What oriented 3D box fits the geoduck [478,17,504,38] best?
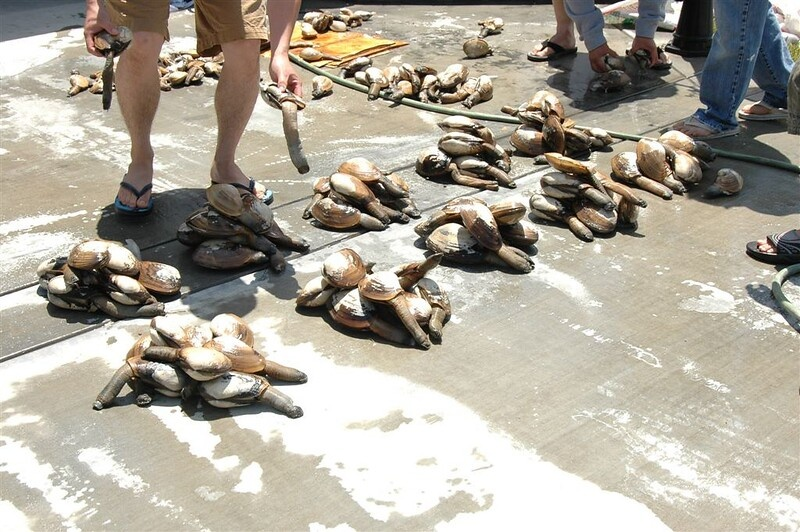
[{"bbox_3d":[0.889,-2.392,6.454,0.167,0.157,0.464,22,34,26],"label":"geoduck"}]

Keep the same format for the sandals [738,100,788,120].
[{"bbox_3d":[2.694,-1.174,4.842,0.388,0.095,0.171,3,18,8],"label":"sandals"}]

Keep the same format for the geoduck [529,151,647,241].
[{"bbox_3d":[0.951,-0.352,3.634,0.635,0.262,0.509,26,48,38],"label":"geoduck"}]

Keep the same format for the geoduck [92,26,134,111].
[{"bbox_3d":[-1.465,-1.012,3.341,0.199,0.446,0.326,-10,36,-20],"label":"geoduck"}]

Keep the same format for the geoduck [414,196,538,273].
[{"bbox_3d":[0.393,-0.161,3.303,0.611,0.208,0.347,4,41,11],"label":"geoduck"}]

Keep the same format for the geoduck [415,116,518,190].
[{"bbox_3d":[0.391,-0.652,4.067,0.665,0.262,0.410,23,65,13],"label":"geoduck"}]

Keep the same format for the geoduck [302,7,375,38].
[{"bbox_3d":[-0.669,-2.484,6.544,0.714,0.157,0.410,-20,37,-35],"label":"geoduck"}]

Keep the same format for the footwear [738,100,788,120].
[{"bbox_3d":[2.691,-1.171,4.839,0.388,0.095,0.171,3,18,8],"label":"footwear"}]

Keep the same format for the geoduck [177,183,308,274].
[{"bbox_3d":[-0.834,-0.169,3.278,0.601,0.227,0.482,25,33,19],"label":"geoduck"}]

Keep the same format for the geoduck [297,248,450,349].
[{"bbox_3d":[-0.132,0.146,2.961,0.647,0.203,0.468,9,23,19],"label":"geoduck"}]

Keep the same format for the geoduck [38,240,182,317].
[{"bbox_3d":[-1.388,0.111,3.055,0.562,0.203,0.393,13,42,2],"label":"geoduck"}]

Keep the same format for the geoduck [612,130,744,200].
[{"bbox_3d":[1.653,-0.607,3.960,0.486,0.229,0.651,-33,45,-30],"label":"geoduck"}]

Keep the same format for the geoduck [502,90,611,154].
[{"bbox_3d":[0.927,-1.017,4.301,0.513,0.233,0.618,-29,45,-32],"label":"geoduck"}]

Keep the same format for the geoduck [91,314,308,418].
[{"bbox_3d":[-0.763,0.299,2.535,0.639,0.166,0.508,-6,33,-30],"label":"geoduck"}]

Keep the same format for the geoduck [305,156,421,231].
[{"bbox_3d":[-0.219,-0.363,3.582,0.552,0.157,0.518,10,26,22],"label":"geoduck"}]

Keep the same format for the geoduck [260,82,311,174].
[{"bbox_3d":[-0.550,-0.709,3.322,0.257,0.153,0.533,-5,58,-35],"label":"geoduck"}]
